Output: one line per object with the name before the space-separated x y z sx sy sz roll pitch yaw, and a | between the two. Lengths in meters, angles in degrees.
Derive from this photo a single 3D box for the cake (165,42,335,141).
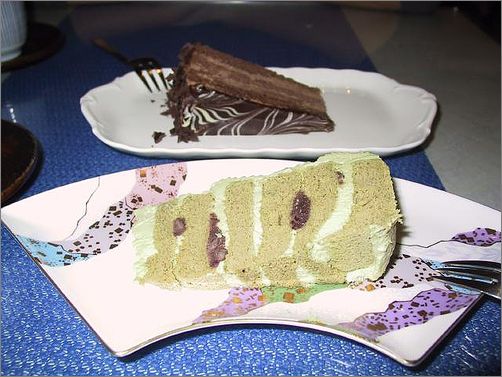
cake | -0.003 -0.396 2.143 0.706 0.277 0.487 -1 41 -3
